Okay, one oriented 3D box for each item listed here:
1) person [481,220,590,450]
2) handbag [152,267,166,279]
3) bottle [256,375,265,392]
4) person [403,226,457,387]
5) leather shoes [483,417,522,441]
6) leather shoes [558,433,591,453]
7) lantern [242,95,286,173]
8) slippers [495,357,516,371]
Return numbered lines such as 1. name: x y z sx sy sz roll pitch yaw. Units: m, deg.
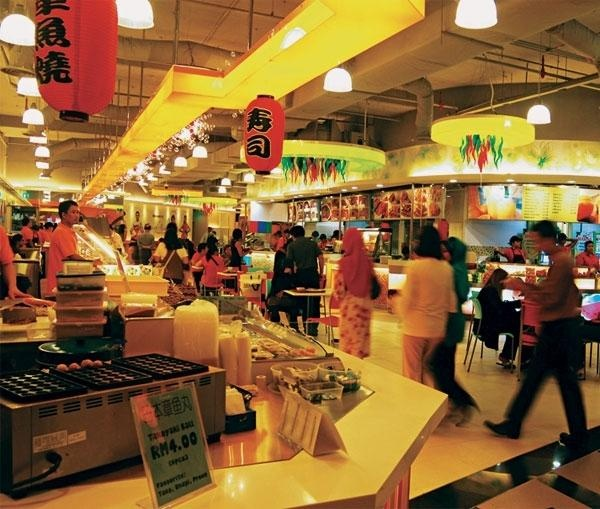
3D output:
1. person: 1.824 0.606 3.941 0.723 1.694 0.532 3 -1 -4
2. handbag: -2.007 0.266 7.262 0.140 0.275 0.217 -2 6 -15
3. bottle: -0.174 0.565 2.255 0.047 0.057 0.048 0 4 -11
4. person: 0.980 0.428 4.027 0.389 1.301 0.313 1 2 11
5. leather shoes: 1.557 1.345 3.982 0.104 0.136 0.304 7 10 -32
6. leather shoes: 2.017 1.376 3.782 0.196 0.090 0.268 3 3 30
7. lantern: -0.277 -0.902 3.906 0.302 0.540 0.386 1 2 -5
8. slippers: 2.413 1.292 6.032 0.098 0.075 0.259 0 3 -17
